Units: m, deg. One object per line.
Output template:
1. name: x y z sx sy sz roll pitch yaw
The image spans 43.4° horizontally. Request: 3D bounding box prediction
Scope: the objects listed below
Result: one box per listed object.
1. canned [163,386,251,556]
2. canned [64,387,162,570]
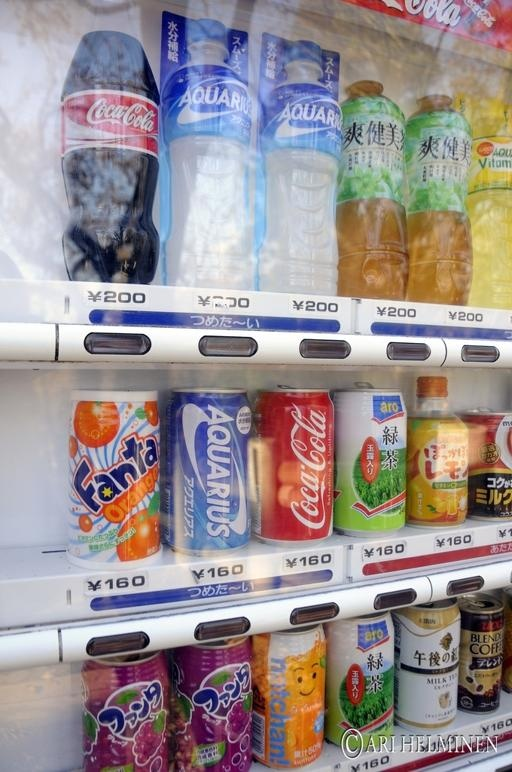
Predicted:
1. canned: -0.083 0.143 1.104 0.161 0.269 0.072 -5 1 -2
2. canned: -0.227 0.143 1.037 0.155 0.277 0.066 -5 1 -17
